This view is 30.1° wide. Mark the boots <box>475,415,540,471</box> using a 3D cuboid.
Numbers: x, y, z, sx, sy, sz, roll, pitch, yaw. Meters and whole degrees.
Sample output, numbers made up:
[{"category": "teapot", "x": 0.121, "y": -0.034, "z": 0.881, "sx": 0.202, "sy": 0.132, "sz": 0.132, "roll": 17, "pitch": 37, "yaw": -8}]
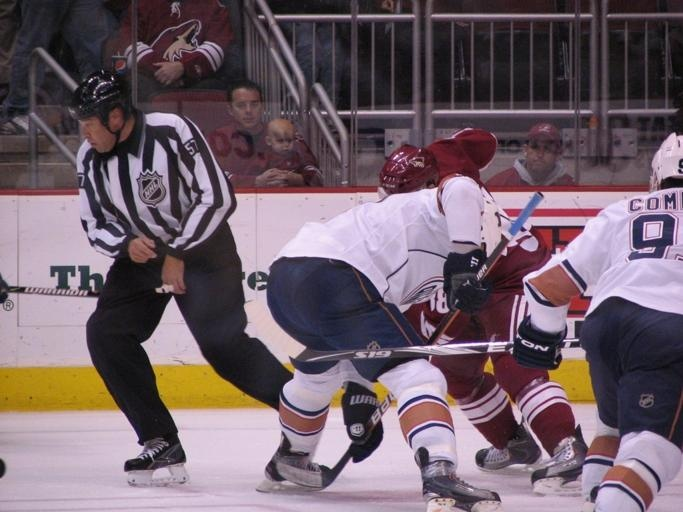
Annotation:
[{"category": "boots", "x": 0.868, "y": 0.921, "z": 6.354, "sx": 0.428, "sy": 0.301, "sz": 0.147, "roll": -3, "pitch": 30, "yaw": 18}]

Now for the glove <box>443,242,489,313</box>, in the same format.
[{"category": "glove", "x": 0.547, "y": 0.107, "z": 5.705, "sx": 0.215, "sy": 0.270, "sz": 0.129, "roll": 1, "pitch": 5, "yaw": -19}]

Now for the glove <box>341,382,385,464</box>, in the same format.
[{"category": "glove", "x": 0.053, "y": 0.759, "z": 5.851, "sx": 0.122, "sy": 0.322, "sz": 0.239, "roll": 2, "pitch": -18, "yaw": -14}]

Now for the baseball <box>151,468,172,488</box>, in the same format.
[{"category": "baseball", "x": -0.899, "y": 1.097, "z": 6.303, "sx": 0.110, "sy": 0.094, "sz": 0.077, "roll": 4, "pitch": -10, "yaw": 2}]

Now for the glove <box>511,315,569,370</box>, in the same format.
[{"category": "glove", "x": 0.846, "y": 0.378, "z": 5.450, "sx": 0.199, "sy": 0.153, "sz": 0.252, "roll": 11, "pitch": 12, "yaw": 15}]

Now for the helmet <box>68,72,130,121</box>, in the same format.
[{"category": "helmet", "x": -1.222, "y": -0.793, "z": 6.370, "sx": 0.281, "sy": 0.251, "sz": 0.215, "roll": -5, "pitch": -1, "yaw": -16}]

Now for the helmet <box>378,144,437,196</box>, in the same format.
[{"category": "helmet", "x": 0.322, "y": -0.408, "z": 6.043, "sx": 0.176, "sy": 0.140, "sz": 0.299, "roll": -1, "pitch": 22, "yaw": 31}]

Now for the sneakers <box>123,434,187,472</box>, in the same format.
[{"category": "sneakers", "x": -0.967, "y": 0.973, "z": 6.220, "sx": 0.383, "sy": 0.174, "sz": 0.126, "roll": 3, "pitch": -14, "yaw": -23}]
